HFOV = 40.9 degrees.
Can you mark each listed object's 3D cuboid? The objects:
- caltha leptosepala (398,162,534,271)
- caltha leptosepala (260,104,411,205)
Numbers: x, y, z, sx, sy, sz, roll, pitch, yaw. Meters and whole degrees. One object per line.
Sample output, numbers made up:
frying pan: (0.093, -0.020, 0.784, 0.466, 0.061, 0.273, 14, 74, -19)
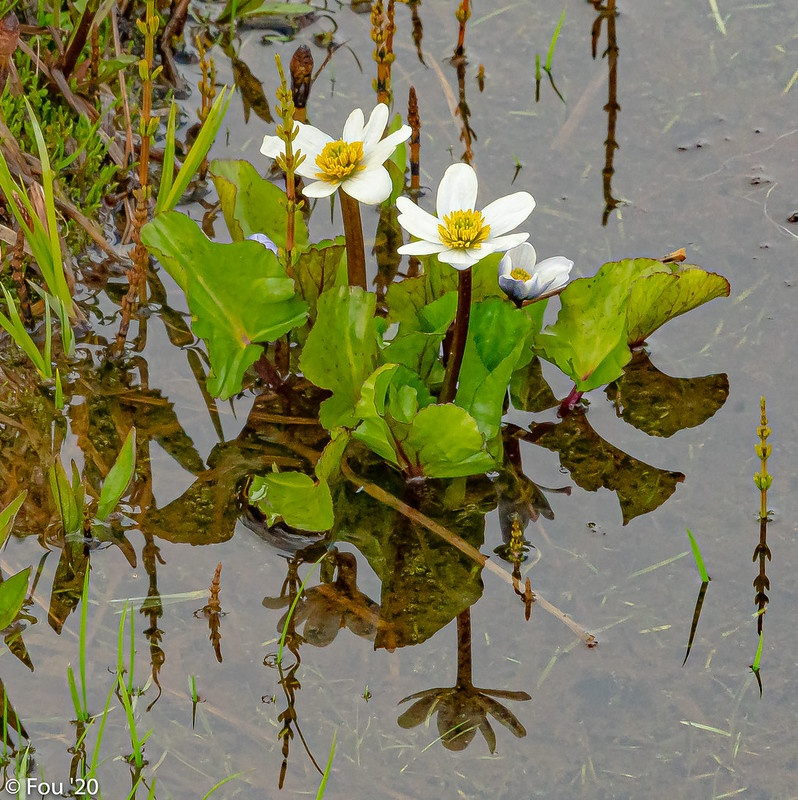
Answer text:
caltha leptosepala: (0.138, -0.388, 2.305, 0.296, 0.325, 0.125, 3, 78, -4)
caltha leptosepala: (-0.125, -0.563, 2.403, 0.304, 0.228, 0.245, 15, 78, 6)
